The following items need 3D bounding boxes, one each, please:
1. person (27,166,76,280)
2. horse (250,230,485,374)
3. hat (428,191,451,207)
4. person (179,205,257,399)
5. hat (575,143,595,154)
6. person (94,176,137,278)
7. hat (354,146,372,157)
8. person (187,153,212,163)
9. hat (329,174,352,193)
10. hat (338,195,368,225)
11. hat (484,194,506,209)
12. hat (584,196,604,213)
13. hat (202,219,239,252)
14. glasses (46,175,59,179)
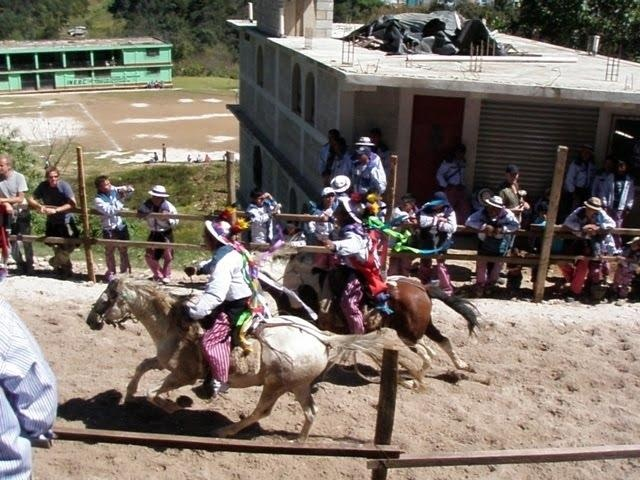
[{"bbox_3d":[-5.117,-0.376,16.820,0.836,2.182,1.132,-3,15,-14],"label":"person"},{"bbox_3d":[0.865,1.160,14.587,3.964,1.709,0.905,5,5,36],"label":"horse"},{"bbox_3d":[2.292,-0.809,16.627,0.443,0.229,0.433,3,7,22],"label":"hat"},{"bbox_3d":[-1.366,0.880,12.435,0.604,2.669,1.065,14,20,41],"label":"person"},{"bbox_3d":[5.552,-1.903,18.154,0.501,0.146,0.517,7,5,20],"label":"hat"},{"bbox_3d":[-3.930,-0.246,16.617,0.697,2.024,1.155,-3,15,-13],"label":"person"},{"bbox_3d":[0.847,-1.756,17.321,0.324,0.100,0.211,8,18,11],"label":"hat"},{"bbox_3d":[-6.358,-4.241,45.515,1.056,0.306,0.707,0,3,10],"label":"person"},{"bbox_3d":[0.368,-0.994,15.900,0.308,0.331,0.409,-1,13,-7],"label":"hat"},{"bbox_3d":[0.496,-0.454,13.527,0.462,0.133,0.426,18,34,-55],"label":"hat"},{"bbox_3d":[3.287,-0.711,16.343,0.375,0.219,0.298,-2,13,-10],"label":"hat"},{"bbox_3d":[5.111,-0.666,16.314,0.337,0.234,0.324,-9,16,-35],"label":"hat"},{"bbox_3d":[-1.415,-0.088,12.292,0.423,0.171,0.410,20,40,-28],"label":"hat"},{"bbox_3d":[-4.980,-1.163,16.230,0.178,0.072,0.122,-4,14,-19],"label":"glasses"}]
